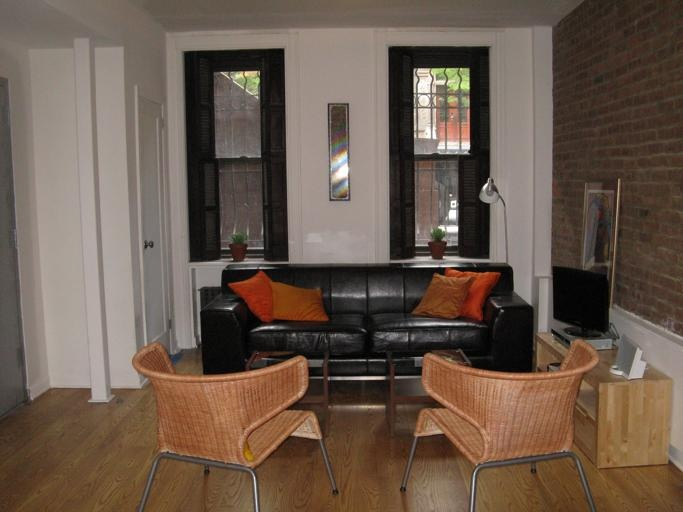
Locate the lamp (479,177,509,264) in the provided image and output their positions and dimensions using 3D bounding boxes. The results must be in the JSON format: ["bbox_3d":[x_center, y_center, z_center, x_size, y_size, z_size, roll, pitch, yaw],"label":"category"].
[{"bbox_3d":[1.490,-0.320,5.179,0.240,0.873,0.758,-1,9,17],"label":"lamp"}]

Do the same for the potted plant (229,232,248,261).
[{"bbox_3d":[-1.065,-0.094,5.578,0.236,0.384,0.255,1,0,-13],"label":"potted plant"}]

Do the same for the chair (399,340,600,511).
[{"bbox_3d":[0.804,0.749,2.958,0.822,0.894,0.918,0,2,-12],"label":"chair"}]

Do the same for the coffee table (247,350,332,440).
[{"bbox_3d":[-0.381,0.924,4.003,0.668,0.674,0.514,-1,-1,1],"label":"coffee table"}]

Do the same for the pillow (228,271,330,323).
[{"bbox_3d":[-0.522,0.380,4.544,0.463,0.172,0.542,-1,18,-31],"label":"pillow"}]

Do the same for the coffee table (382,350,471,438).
[{"bbox_3d":[0.580,0.901,3.859,0.594,0.483,0.520,0,-1,-2],"label":"coffee table"}]

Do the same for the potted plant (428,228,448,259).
[{"bbox_3d":[1.028,-0.132,5.591,0.252,0.306,0.132,-9,10,-31],"label":"potted plant"}]

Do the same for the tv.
[{"bbox_3d":[1.766,0.345,3.950,0.186,0.515,0.518,-2,1,-16],"label":"tv"}]

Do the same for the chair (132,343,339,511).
[{"bbox_3d":[-0.546,0.754,2.939,0.807,0.859,0.922,1,3,18],"label":"chair"}]
